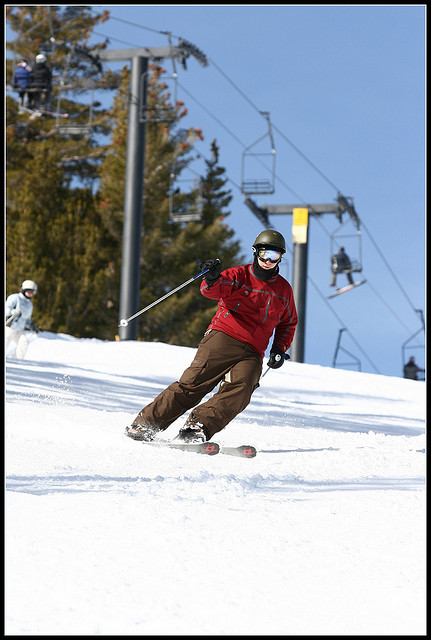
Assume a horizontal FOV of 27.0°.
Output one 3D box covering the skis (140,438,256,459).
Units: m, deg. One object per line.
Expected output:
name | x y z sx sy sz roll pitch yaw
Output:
skis | -0.135 0.809 5.643 0.837 0.098 0.090 5 3 4

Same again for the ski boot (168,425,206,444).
ski boot | -0.165 0.731 5.721 0.126 0.072 0.174 8 9 44

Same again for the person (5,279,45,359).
person | -2.303 0.003 10.607 0.373 0.795 0.573 8 2 -12

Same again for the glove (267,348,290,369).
glove | 0.443 0.274 6.441 0.078 0.122 0.159 16 -24 -10

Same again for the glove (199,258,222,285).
glove | -0.040 -0.314 5.688 0.074 0.163 0.125 -3 -20 29

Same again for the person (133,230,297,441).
person | 0.083 0.075 5.960 0.885 1.293 0.426 7 3 -39

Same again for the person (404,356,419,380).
person | 5.248 1.276 24.119 0.375 0.603 0.987 9 2 13

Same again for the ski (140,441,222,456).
ski | -0.225 0.791 5.554 0.479 0.068 0.056 5 1 9

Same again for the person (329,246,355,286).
person | 3.557 -1.361 24.851 0.864 1.486 0.204 -1 -29 6
